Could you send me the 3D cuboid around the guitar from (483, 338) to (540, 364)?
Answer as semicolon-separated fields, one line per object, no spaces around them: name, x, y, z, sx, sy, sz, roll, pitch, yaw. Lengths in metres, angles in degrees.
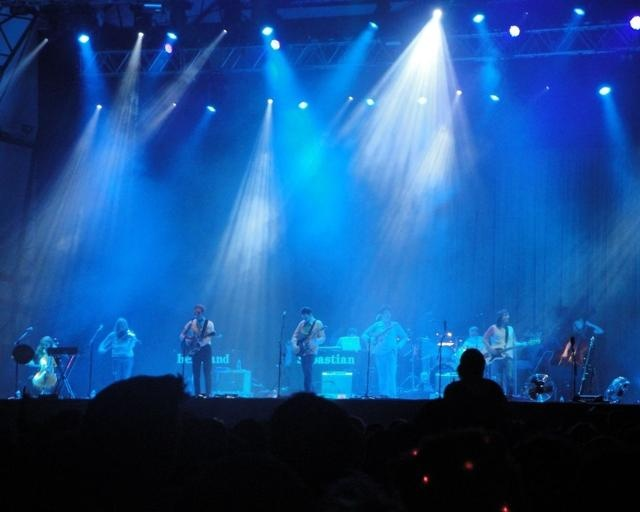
guitar;3.629;1.823;13.318;0.777;0.328;0.124;-18;-22;2

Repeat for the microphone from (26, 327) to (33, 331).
microphone;-6.124;1.531;14.685;0.137;0.070;0.146;-10;-4;21
